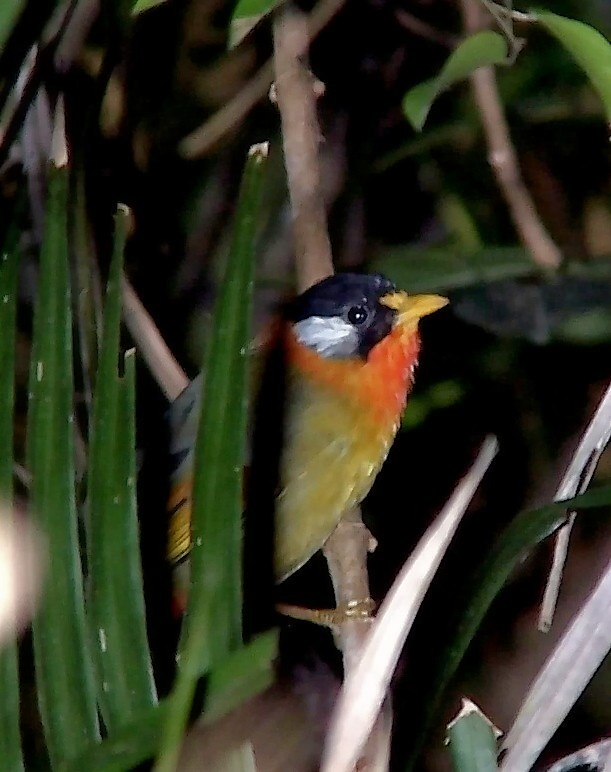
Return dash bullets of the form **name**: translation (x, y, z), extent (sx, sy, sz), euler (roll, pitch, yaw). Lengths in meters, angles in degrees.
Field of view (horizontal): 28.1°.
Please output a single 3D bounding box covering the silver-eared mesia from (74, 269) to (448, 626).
- **silver-eared mesia**: translation (0.040, 0.078, 2.034), extent (0.322, 0.395, 0.448), euler (3, 36, 22)
